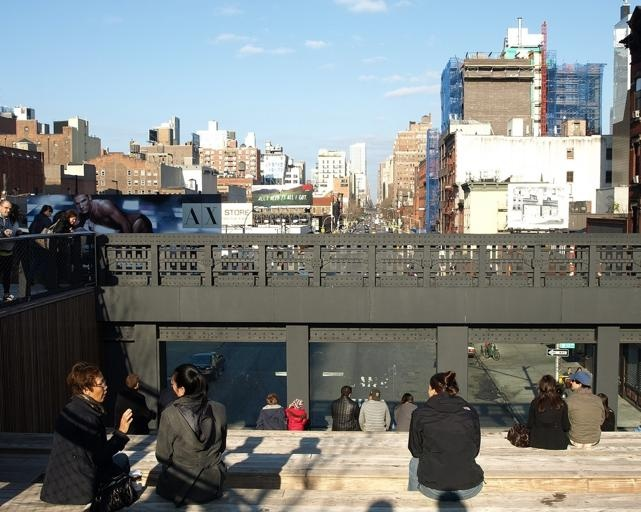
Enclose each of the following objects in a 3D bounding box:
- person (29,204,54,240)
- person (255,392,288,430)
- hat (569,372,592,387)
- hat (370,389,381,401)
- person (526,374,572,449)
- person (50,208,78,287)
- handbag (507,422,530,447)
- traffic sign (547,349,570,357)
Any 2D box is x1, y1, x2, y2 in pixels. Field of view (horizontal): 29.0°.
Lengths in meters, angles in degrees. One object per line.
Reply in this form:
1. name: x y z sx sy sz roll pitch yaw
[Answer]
1. person: -8.128 -1.033 36.288 0.535 0.780 2.011 -1 2 -14
2. person: -1.357 4.322 34.091 0.815 0.917 0.894 0 2 -2
3. hat: 6.804 3.271 32.782 0.516 0.277 0.386 28 27 36
4. hat: 1.494 3.910 34.696 0.248 0.280 0.350 5 9 -29
5. person: 5.742 3.952 31.387 1.062 1.845 0.375 0 2 7
6. person: -7.075 -0.333 34.819 0.730 2.276 0.679 -10 27 -34
7. handbag: 5.065 4.399 31.773 0.493 0.691 0.959 8 -7 11
8. traffic sign: 7.455 3.080 39.096 0.462 0.206 0.863 1 -3 5
